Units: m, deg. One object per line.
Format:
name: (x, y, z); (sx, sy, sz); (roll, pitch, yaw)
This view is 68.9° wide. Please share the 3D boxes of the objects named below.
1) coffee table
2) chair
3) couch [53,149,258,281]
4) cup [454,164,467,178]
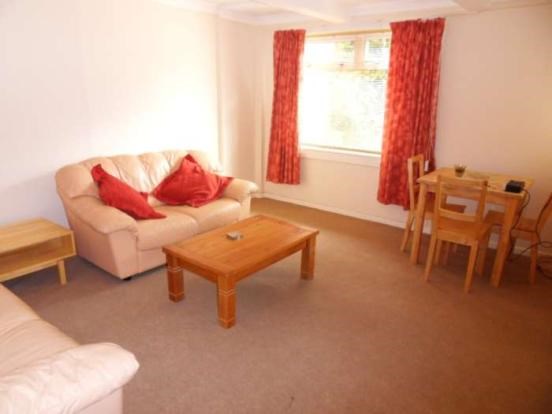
coffee table: (-0.301, 0.536, 3.886); (0.862, 0.509, 1.309); (14, 21, 35)
chair: (2.077, 0.091, 4.369); (1.386, 1.116, 1.204); (14, 26, 26)
couch: (-1.295, -0.052, 4.671); (1.161, 0.982, 2.062); (19, 23, 34)
cup: (1.982, -0.382, 4.332); (0.120, 0.105, 0.123); (-1, 10, 0)
